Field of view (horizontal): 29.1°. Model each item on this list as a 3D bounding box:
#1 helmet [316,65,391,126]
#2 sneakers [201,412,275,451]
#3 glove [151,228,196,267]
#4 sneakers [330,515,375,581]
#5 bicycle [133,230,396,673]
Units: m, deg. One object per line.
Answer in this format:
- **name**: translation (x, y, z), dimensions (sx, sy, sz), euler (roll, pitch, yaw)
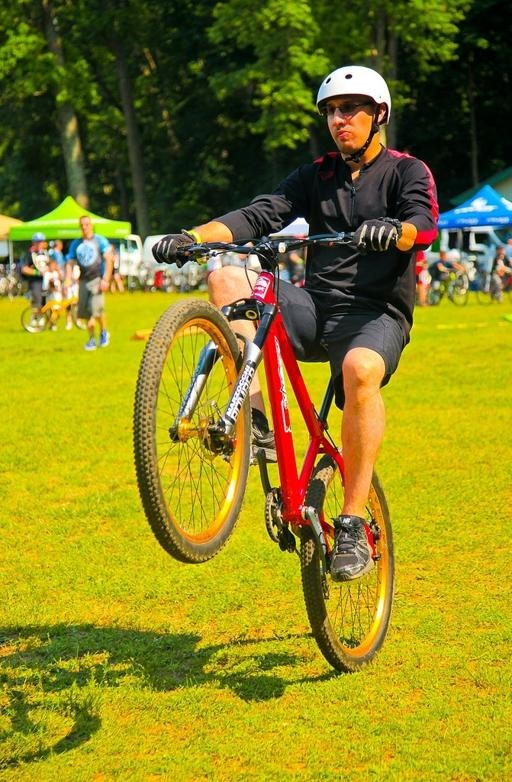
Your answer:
- **helmet**: translation (0.338, -0.998, 3.289), dimensions (0.162, 0.136, 0.187), euler (-4, -12, 37)
- **sneakers**: translation (-0.019, 0.127, 3.068), dimensions (0.205, 0.117, 0.096), euler (13, -22, -38)
- **glove**: translation (-0.246, -0.433, 3.009), dimensions (0.129, 0.109, 0.266), euler (-1, 9, -4)
- **sneakers**: translation (0.298, 0.477, 3.058), dimensions (0.127, 0.181, 0.256), euler (0, 9, 7)
- **bicycle**: translation (0.072, 0.183, 3.580), dimensions (0.909, 1.469, 2.021), euler (-1, 9, -4)
